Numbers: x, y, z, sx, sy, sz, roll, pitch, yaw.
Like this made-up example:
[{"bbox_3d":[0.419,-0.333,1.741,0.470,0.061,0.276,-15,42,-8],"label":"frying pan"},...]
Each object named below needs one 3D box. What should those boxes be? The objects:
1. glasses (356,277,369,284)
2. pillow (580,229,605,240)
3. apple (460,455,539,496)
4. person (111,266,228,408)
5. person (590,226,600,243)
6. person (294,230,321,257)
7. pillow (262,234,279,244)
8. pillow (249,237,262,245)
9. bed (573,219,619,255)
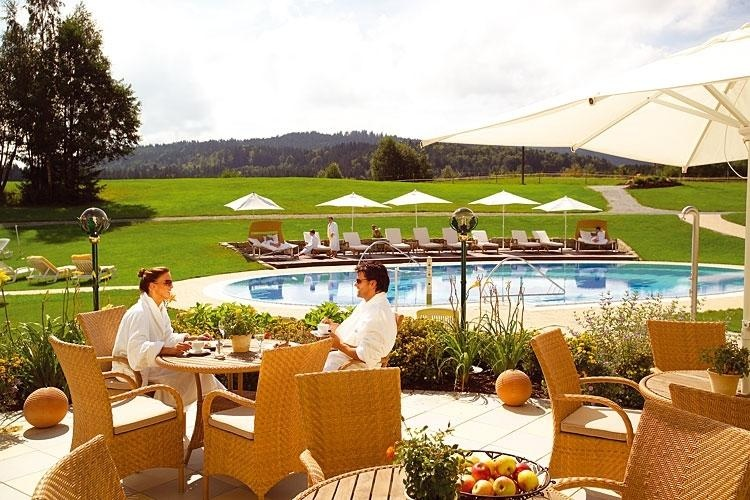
[{"bbox_3d":[-0.184,0.403,7.499,0.158,0.071,0.031,-10,-8,32],"label":"glasses"},{"bbox_3d":[11.078,-0.730,29.012,0.665,0.479,0.816,1,-1,43],"label":"pillow"},{"bbox_3d":[1.027,1.914,4.832,0.377,0.199,0.398,-4,-6,25],"label":"apple"},{"bbox_3d":[-2.817,1.197,7.860,1.448,1.976,1.186,-1,3,-20],"label":"person"},{"bbox_3d":[11.218,-0.800,29.117,0.670,0.801,0.448,-3,12,-25],"label":"person"},{"bbox_3d":[-3.089,-0.396,26.704,0.959,1.396,2.156,-4,-7,-8],"label":"person"},{"bbox_3d":[-4.769,-0.478,26.244,0.451,0.484,0.144,5,-34,-17],"label":"pillow"},{"bbox_3d":[-5.497,-0.421,25.877,0.481,0.516,0.882,-3,-7,-18],"label":"pillow"},{"bbox_3d":[11.113,-0.741,28.874,1.959,1.725,1.682,1,4,15],"label":"bed"}]
